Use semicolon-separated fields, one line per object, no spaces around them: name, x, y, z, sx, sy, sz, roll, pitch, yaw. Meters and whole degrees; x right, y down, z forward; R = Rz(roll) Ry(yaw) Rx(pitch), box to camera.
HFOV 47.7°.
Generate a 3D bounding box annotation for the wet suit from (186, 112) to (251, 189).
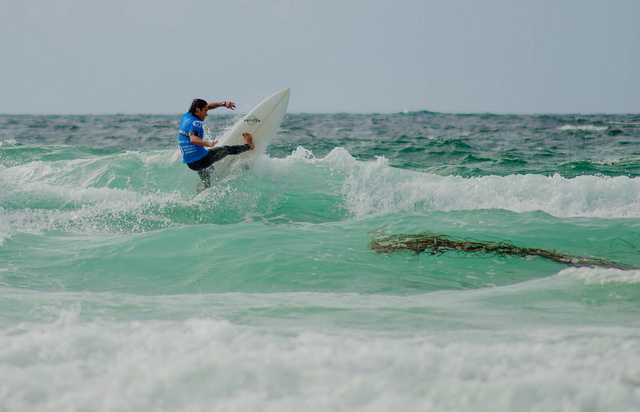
wet suit;-2.335;-0.900;16.190;0.561;1.022;1.296;7;5;35
